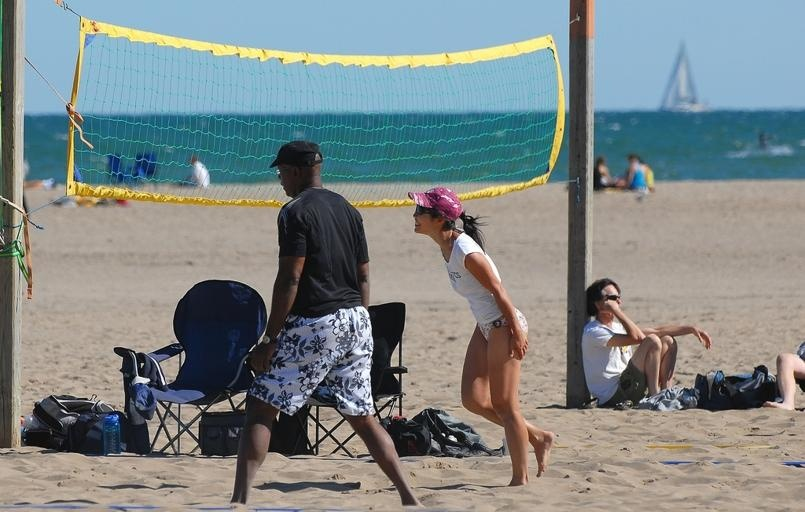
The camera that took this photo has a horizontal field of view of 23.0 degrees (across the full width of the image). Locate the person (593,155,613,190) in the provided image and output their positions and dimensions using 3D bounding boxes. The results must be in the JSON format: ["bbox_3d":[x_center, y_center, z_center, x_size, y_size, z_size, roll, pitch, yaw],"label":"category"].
[{"bbox_3d":[4.049,-1.668,39.653,0.385,0.661,1.258,0,0,6],"label":"person"}]

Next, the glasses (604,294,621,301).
[{"bbox_3d":[2.970,0.579,27.961,0.218,0.092,0.056,0,0,-23],"label":"glasses"}]

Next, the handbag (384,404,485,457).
[{"bbox_3d":[0.460,2.309,26.855,0.903,0.363,0.724,5,2,-3],"label":"handbag"}]

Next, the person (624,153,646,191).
[{"bbox_3d":[4.708,-1.644,39.475,0.495,0.750,0.534,8,16,32],"label":"person"}]

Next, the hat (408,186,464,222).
[{"bbox_3d":[0.462,-0.715,26.198,0.645,0.333,0.403,29,24,-11],"label":"hat"}]

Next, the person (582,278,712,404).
[{"bbox_3d":[3.236,1.232,28.001,1.379,1.797,0.471,0,0,4],"label":"person"}]

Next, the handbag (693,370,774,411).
[{"bbox_3d":[4.686,1.905,27.888,0.729,0.333,0.669,2,1,-10],"label":"handbag"}]

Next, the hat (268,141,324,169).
[{"bbox_3d":[-1.353,-1.330,25.733,0.492,0.246,0.369,3,7,16],"label":"hat"}]

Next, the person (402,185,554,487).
[{"bbox_3d":[0.972,1.065,26.129,1.344,3.926,0.441,0,0,3],"label":"person"}]
